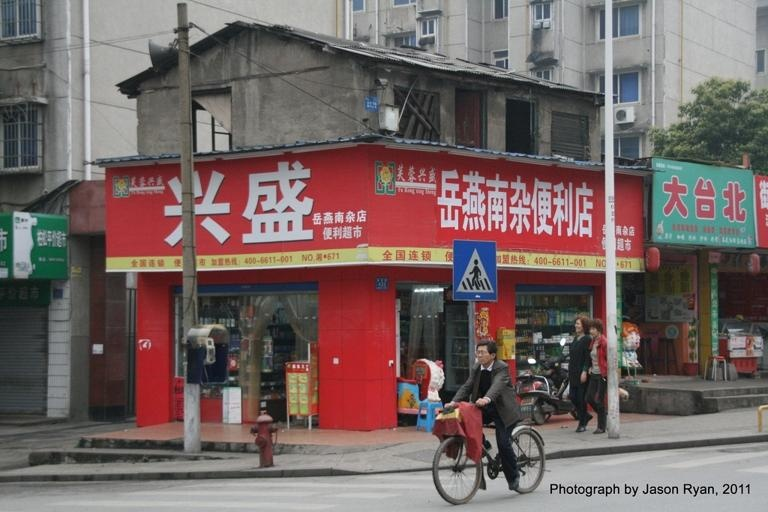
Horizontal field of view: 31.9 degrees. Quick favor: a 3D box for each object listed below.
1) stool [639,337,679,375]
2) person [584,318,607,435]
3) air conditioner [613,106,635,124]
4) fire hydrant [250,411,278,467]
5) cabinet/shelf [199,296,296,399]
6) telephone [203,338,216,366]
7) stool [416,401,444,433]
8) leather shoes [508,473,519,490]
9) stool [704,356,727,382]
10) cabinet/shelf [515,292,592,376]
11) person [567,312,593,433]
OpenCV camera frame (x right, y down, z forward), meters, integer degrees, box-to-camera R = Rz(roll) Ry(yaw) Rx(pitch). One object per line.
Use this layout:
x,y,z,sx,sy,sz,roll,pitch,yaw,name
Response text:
9.468,3.387,46.139,1.187,1.715,1.206,-10,-16,39,stool
6.064,3.399,38.216,0.650,3.205,0.540,-3,-6,18,person
12.024,-7.111,67.132,0.973,0.803,0.505,-3,-6,14,air conditioner
-3.311,4.929,36.173,0.631,1.413,0.663,-1,-6,-6,fire hydrant
-3.737,2.920,41.272,2.051,3.341,1.968,2,-1,21,cabinet/shelf
-4.955,2.604,37.486,0.319,0.803,0.318,-1,-6,-8,telephone
1.229,4.618,38.927,0.850,1.102,0.816,-1,1,-15,stool
3.187,5.539,33.152,0.165,0.392,0.230,3,-13,-42,leather shoes
10.870,3.664,43.832,0.712,0.947,0.726,-2,-4,21,stool
4.783,2.226,42.447,1.802,2.901,1.696,3,-1,-25,cabinet/shelf
5.684,3.355,38.561,0.713,3.302,1.026,0,4,-14,person
